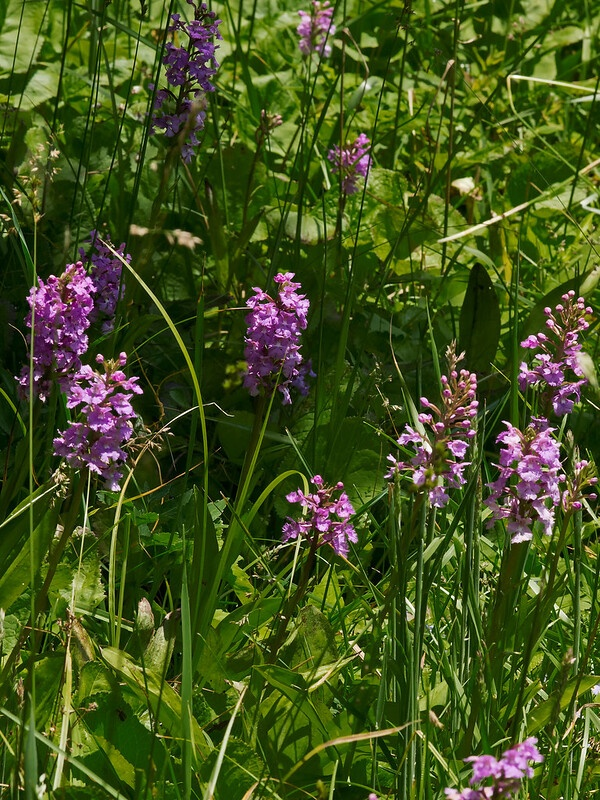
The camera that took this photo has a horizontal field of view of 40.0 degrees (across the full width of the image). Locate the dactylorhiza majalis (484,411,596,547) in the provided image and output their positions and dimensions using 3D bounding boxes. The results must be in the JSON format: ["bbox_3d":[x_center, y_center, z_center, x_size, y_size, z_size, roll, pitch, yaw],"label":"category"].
[{"bbox_3d":[0.285,0.108,1.055,0.091,0.170,0.185,16,17,13],"label":"dactylorhiza majalis"}]

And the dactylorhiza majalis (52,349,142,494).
[{"bbox_3d":[-0.287,0.036,1.162,0.119,0.255,0.111,-27,66,-20],"label":"dactylorhiza majalis"}]

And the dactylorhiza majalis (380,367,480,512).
[{"bbox_3d":[0.191,0.065,1.236,0.150,0.298,0.134,-9,64,-7],"label":"dactylorhiza majalis"}]
